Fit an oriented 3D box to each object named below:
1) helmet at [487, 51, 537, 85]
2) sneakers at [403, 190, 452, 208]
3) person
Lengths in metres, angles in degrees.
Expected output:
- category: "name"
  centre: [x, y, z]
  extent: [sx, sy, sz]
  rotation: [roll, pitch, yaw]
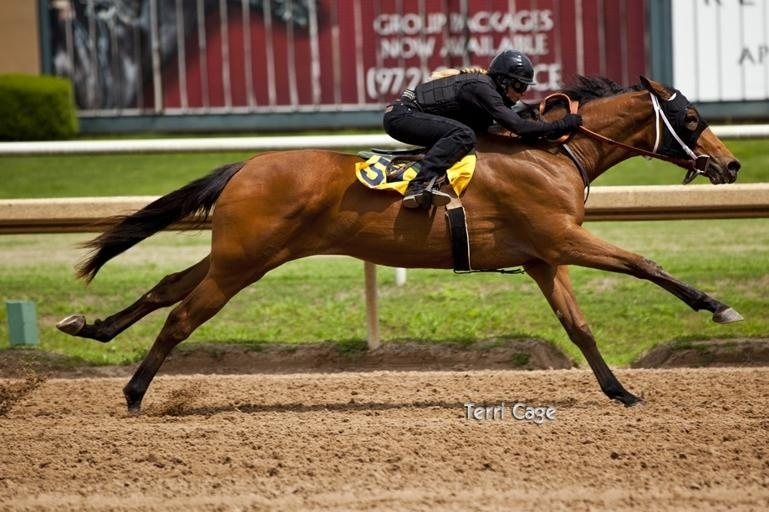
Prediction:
- category: "helmet"
  centre: [0.946, -1.379, 8.327]
  extent: [0.418, 0.206, 0.289]
  rotation: [15, 24, 28]
- category: "sneakers"
  centre: [0.298, -0.400, 8.029]
  extent: [0.400, 0.138, 0.116]
  rotation: [-5, -27, -2]
- category: "person"
  centre: [0.747, -0.984, 8.425]
  extent: [1.473, 0.947, 0.874]
  rotation: [0, 19, 4]
